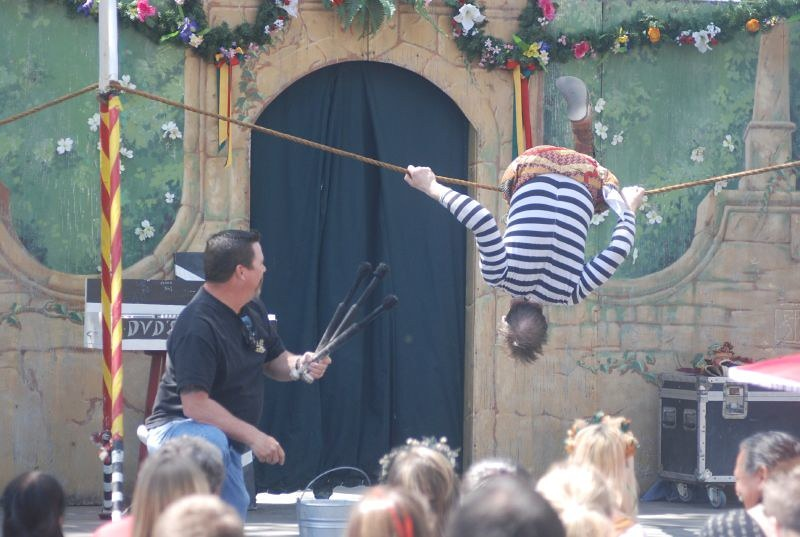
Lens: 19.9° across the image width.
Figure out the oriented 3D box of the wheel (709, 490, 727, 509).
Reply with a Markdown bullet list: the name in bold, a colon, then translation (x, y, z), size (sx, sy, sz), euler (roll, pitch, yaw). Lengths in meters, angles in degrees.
- **wheel**: translation (2.391, 1.729, 17.309), size (0.117, 0.140, 0.145), euler (3, -7, -16)

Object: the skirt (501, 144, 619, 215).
- **skirt**: translation (1.106, -0.638, 16.119), size (0.582, 0.284, 0.685), euler (4, -3, 7)

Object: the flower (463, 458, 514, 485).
- **flower**: translation (0.605, 1.309, 14.786), size (0.346, 0.225, 0.480), euler (1, -11, -1)

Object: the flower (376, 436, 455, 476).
- **flower**: translation (0.143, 1.220, 15.206), size (0.455, 0.253, 0.447), euler (1, -6, -39)

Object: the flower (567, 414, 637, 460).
- **flower**: translation (1.359, 1.073, 15.306), size (0.359, 0.147, 0.420), euler (3, 5, -5)

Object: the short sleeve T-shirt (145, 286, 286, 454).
- **short sleeve T-shirt**: translation (-1.264, 0.657, 15.855), size (0.776, 1.096, 1.238), euler (4, 6, 25)

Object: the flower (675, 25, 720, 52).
- **flower**: translation (2.301, -1.812, 17.648), size (0.287, 0.185, 0.141), euler (7, 18, 2)

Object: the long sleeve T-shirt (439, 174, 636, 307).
- **long sleeve T-shirt**: translation (1.004, -0.197, 16.067), size (1.511, 0.825, 0.378), euler (5, -5, -6)
